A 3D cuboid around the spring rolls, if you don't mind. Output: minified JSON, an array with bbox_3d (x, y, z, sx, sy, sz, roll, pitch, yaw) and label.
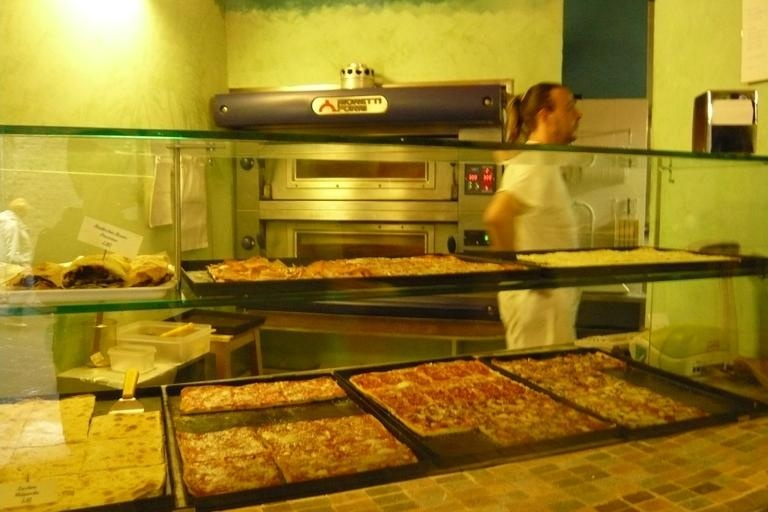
[{"bbox_3d":[-0.822,0.047,1.685,0.422,0.092,0.161,-5,16,-20],"label":"spring rolls"}]

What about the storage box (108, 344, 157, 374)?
[{"bbox_3d":[-0.815,0.329,1.931,0.135,0.064,0.091,2,1,3],"label":"storage box"}]

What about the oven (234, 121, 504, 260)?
[{"bbox_3d":[-0.084,-0.219,2.460,1.466,0.511,0.558,0,3,-3],"label":"oven"}]
